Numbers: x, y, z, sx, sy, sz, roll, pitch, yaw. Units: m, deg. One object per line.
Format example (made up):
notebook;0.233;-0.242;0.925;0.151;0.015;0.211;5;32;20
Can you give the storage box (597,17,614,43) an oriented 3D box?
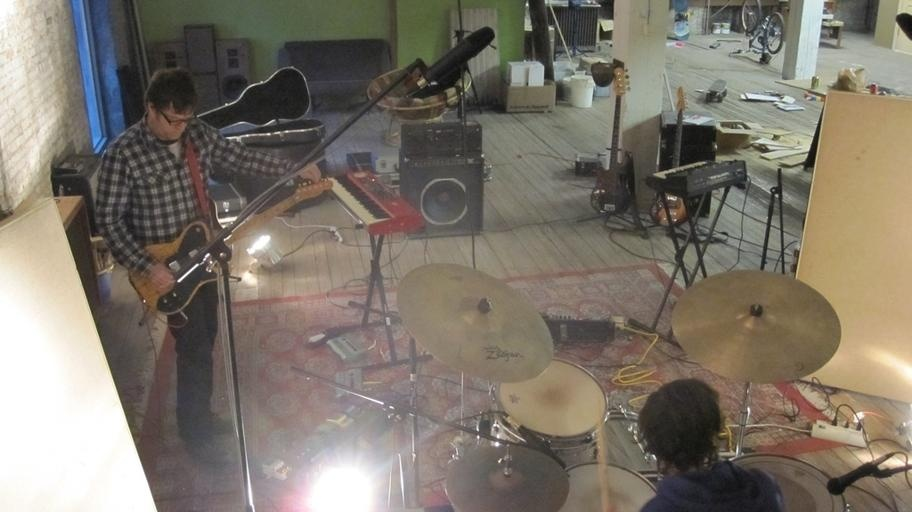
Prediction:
storage box;3.362;-5.167;15.824;0.307;0.422;0.729;5;25;15

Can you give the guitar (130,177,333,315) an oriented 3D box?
guitar;-1.927;-0.039;5.970;1.489;0.501;0.236;-28;14;-8

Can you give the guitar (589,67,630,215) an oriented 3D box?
guitar;1.823;-1.420;8.280;0.470;1.729;1.039;2;25;7

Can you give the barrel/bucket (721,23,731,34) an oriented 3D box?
barrel/bucket;6.778;-5.777;17.624;0.223;0.254;0.515;7;26;19

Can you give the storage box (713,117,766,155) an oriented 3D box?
storage box;4.128;-1.800;10.293;0.594;0.322;1.024;9;26;23

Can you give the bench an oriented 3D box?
bench;-1.959;-3.193;11.576;2.221;1.375;1.240;-4;44;-6

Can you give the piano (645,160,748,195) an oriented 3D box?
piano;2.302;-0.728;6.544;0.914;0.265;0.467;-6;24;-10

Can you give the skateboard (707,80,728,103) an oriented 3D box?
skateboard;4.528;-2.862;12.130;0.245;0.171;0.655;10;38;23

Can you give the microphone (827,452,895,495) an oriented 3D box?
microphone;3.033;1.646;5.233;0.591;0.162;0.187;-14;9;-21

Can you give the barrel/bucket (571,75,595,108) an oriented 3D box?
barrel/bucket;2.119;-2.886;12.125;0.490;0.514;0.548;-3;28;-3

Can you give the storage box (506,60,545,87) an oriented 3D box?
storage box;1.136;-3.058;11.707;0.496;0.275;0.472;-3;27;-4

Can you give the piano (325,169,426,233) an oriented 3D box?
piano;-0.773;-0.490;6.344;0.488;0.313;0.970;-14;27;-26
